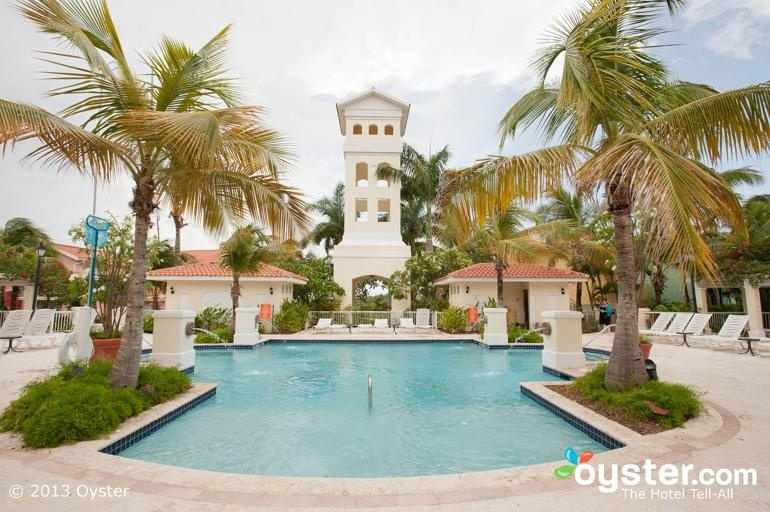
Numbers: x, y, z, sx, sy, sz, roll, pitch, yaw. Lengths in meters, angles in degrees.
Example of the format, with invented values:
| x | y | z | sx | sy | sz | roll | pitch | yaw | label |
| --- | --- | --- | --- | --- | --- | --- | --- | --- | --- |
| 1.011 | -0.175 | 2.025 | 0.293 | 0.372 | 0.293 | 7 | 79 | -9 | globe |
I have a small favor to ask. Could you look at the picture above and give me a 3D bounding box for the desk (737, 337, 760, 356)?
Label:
| x | y | z | sx | sy | sz | roll | pitch | yaw | label |
| --- | --- | --- | --- | --- | --- | --- | --- | --- | --- |
| 12.726 | 3.018 | 16.777 | 0.505 | 0.591 | 3.633 | -4 | -6 | 37 | desk |
